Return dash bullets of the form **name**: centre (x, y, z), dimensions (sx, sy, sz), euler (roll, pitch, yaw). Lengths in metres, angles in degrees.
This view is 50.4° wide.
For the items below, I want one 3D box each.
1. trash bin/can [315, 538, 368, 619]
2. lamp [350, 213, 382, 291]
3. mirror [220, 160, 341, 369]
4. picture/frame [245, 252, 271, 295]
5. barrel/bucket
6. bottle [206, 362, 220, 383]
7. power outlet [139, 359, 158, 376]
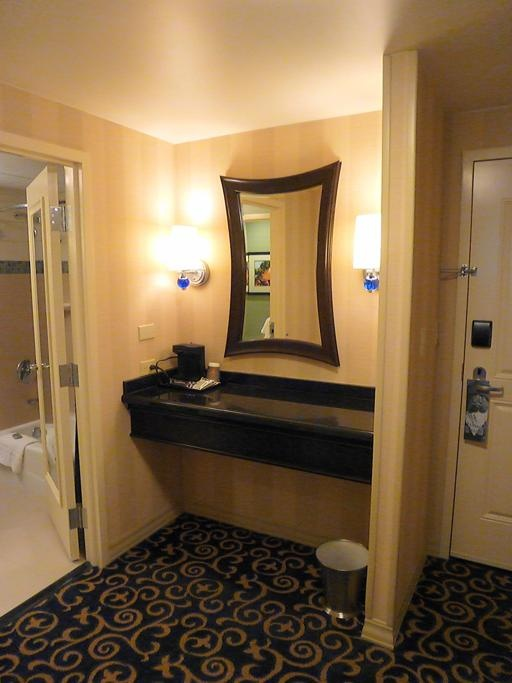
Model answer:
- **trash bin/can**: centre (0.356, 1.006, 2.335), dimensions (0.233, 0.211, 0.246), euler (0, 4, 5)
- **lamp**: centre (0.490, -0.390, 2.432), dimensions (0.108, 0.345, 0.172), euler (1, 10, 8)
- **mirror**: centre (0.118, -0.378, 2.709), dimensions (0.652, 0.938, 0.059), euler (5, 11, 32)
- **picture/frame**: centre (0.011, -0.354, 2.769), dimensions (0.204, 0.250, 0.021), euler (6, 12, 33)
- **barrel/bucket**: centre (0.368, 1.014, 2.369), dimensions (0.214, 0.226, 0.286), euler (1, 9, 12)
- **bottle**: centre (-0.227, 0.152, 2.940), dimensions (0.089, 0.129, 0.086), euler (1, -3, 0)
- **power outlet**: centre (-0.576, 0.134, 2.866), dimensions (0.009, 0.050, 0.084), euler (9, 13, 30)
